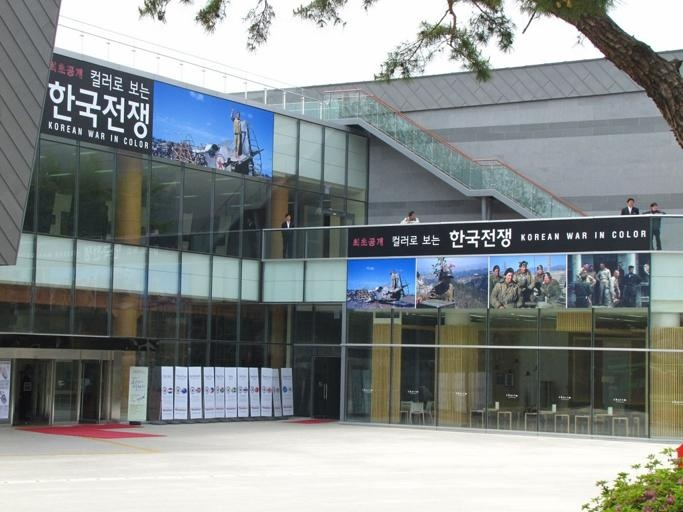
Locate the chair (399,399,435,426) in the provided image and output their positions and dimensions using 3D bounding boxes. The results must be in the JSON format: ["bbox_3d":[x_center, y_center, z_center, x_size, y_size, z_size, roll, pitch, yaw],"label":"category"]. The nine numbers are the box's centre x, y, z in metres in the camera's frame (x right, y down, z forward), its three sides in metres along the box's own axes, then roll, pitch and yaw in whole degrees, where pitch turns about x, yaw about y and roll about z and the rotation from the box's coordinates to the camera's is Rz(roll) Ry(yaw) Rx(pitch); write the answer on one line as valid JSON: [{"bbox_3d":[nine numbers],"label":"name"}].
[{"bbox_3d":[2.411,4.984,31.586,0.759,1.256,0.841,-1,-25,9],"label":"chair"}]

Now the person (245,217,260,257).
[{"bbox_3d":[-3.204,-0.676,35.175,0.597,1.539,0.233,6,-13,-34],"label":"person"}]
